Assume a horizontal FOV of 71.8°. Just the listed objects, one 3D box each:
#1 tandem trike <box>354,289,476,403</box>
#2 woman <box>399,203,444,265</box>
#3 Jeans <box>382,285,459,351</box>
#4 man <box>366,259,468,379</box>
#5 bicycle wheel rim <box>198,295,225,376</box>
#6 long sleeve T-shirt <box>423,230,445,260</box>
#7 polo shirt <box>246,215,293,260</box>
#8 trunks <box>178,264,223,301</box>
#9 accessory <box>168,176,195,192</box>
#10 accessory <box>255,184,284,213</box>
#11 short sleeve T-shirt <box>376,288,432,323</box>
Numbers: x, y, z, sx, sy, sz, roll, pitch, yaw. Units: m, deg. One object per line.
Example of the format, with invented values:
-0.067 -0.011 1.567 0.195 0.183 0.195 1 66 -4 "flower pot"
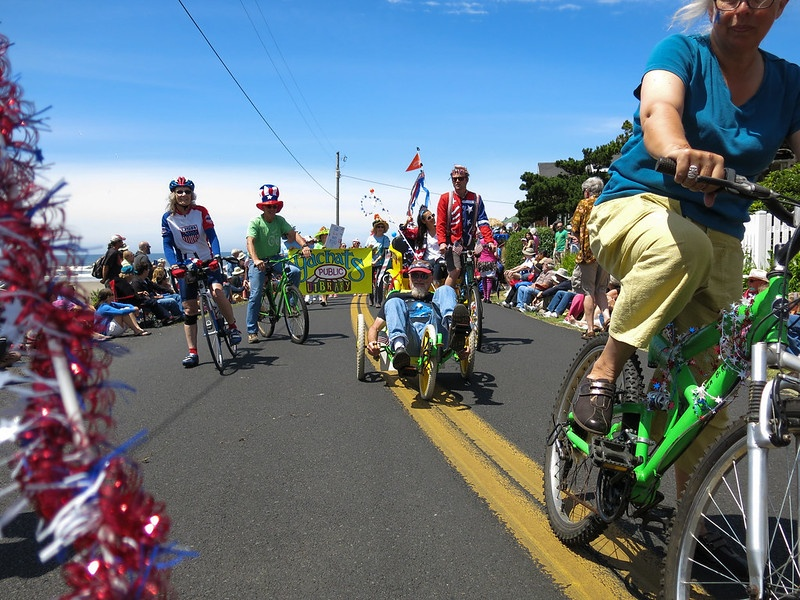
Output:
0.134 0.456 5.490 0.980 0.787 1.606 -1 4 -13 "tandem trike"
0.394 -1.038 9.498 0.678 0.950 1.482 -9 1 -17 "woman"
0.164 0.226 5.455 0.523 0.430 0.628 -5 -6 -4 "Jeans"
0.148 0.228 5.513 0.783 0.917 1.167 0 -13 -2 "man"
-2.322 0.388 6.772 0.239 0.930 0.659 -3 7 -22 "bicycle wheel rim"
0.521 -0.875 9.074 0.383 0.573 0.366 -1 -24 -2 "long sleeve T-shirt"
-2.079 -0.980 8.771 0.285 0.688 0.740 3 8 34 "polo shirt"
-2.483 -0.166 6.802 0.300 0.398 0.597 -12 -7 -22 "trunks"
-2.649 -1.399 6.744 0.204 0.150 0.392 -7 9 -41 "accessory"
-1.964 -1.518 8.270 0.334 0.403 0.784 -3 7 -15 "accessory"
0.060 0.066 5.659 0.413 0.262 0.574 1 -4 -6 "short sleeve T-shirt"
